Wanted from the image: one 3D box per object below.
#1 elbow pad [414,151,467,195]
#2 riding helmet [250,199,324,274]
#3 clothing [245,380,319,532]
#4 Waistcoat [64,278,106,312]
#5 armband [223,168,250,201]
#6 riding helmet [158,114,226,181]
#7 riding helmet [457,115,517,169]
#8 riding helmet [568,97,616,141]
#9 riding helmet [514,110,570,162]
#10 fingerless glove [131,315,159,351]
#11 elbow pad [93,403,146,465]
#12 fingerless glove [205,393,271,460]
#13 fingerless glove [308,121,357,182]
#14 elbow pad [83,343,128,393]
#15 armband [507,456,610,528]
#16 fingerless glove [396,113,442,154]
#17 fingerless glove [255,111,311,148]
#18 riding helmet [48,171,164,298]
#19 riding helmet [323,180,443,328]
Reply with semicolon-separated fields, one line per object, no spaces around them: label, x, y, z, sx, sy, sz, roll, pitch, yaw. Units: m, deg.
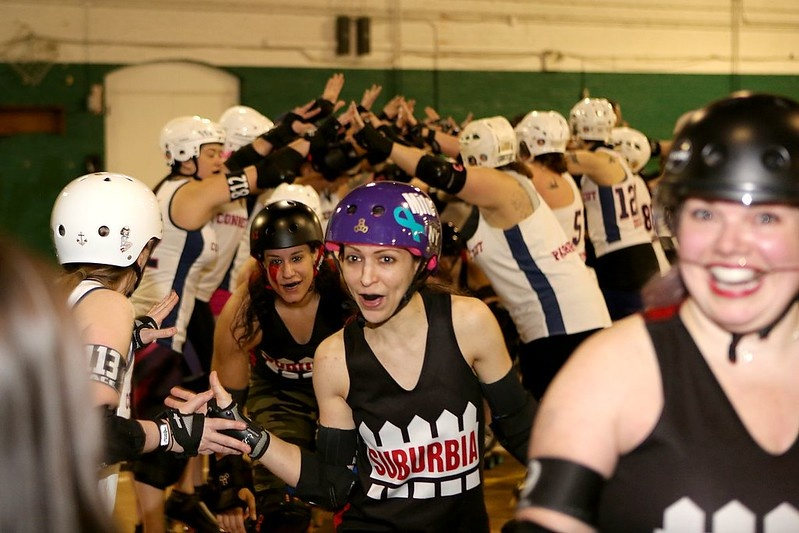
elbow pad;0.255;-0.598;4.998;0.311;0.142;0.208;28;-8;22
riding helmet;-0.680;-0.215;4.678;0.323;0.359;0.433;-6;-16;-3
clothing;-0.705;1.089;4.562;0.682;0.704;0.242;1;-2;18
Waistcoat;-1.269;0.103;3.160;0.138;0.095;0.163;-2;6;-22
armband;-1.106;-0.569;5.339;0.066;0.182;0.176;-9;-9;39
riding helmet;-1.533;-0.897;5.842;0.478;0.525;0.447;0;9;-13
riding helmet;0.664;-0.915;5.566;0.357;0.383;0.387;-11;17;-36
riding helmet;1.839;-1.421;7.353;0.327;0.441;0.430;-2;18;0
riding helmet;1.084;-1.012;5.857;0.296;0.383;0.387;-1;25;-14
fingerless glove;-1.177;0.302;3.568;0.081;0.129;0.164;4;26;-4
elbow pad;-1.094;0.670;3.074;0.166;0.140;0.232;6;-34;-21
fingerless glove;-0.683;0.675;3.370;0.313;0.188;0.135;35;-17;5
fingerless glove;-0.574;-1.037;6.994;0.381;0.425;0.166;-11;0;-31
elbow pad;-1.118;0.390;3.027;0.149;0.127;0.157;19;-7;-1
armband;0.415;0.575;2.040;0.201;0.142;0.170;29;-7;-35
fingerless glove;0.310;-1.308;7.943;0.258;0.232;0.889;0;-10;36
fingerless glove;-0.951;-1.079;6.255;0.239;0.369;0.155;46;-15;3
riding helmet;-1.280;-0.180;3.621;0.347;0.388;0.485;-3;-16;31
riding helmet;-0.027;-0.081;3.409;0.460;0.678;0.612;5;1;24
